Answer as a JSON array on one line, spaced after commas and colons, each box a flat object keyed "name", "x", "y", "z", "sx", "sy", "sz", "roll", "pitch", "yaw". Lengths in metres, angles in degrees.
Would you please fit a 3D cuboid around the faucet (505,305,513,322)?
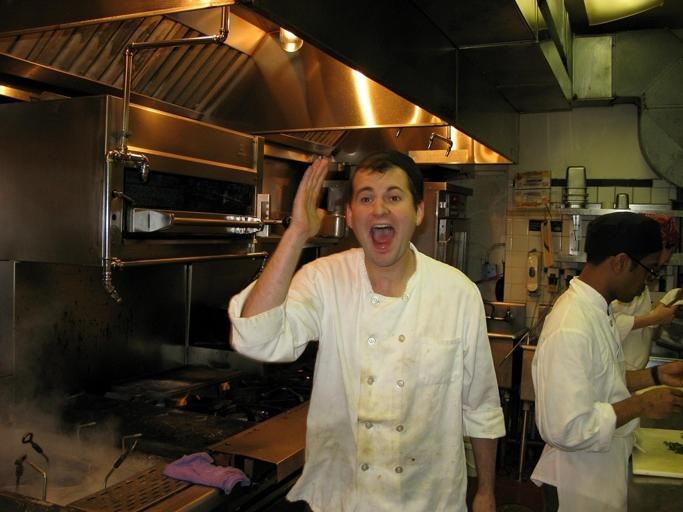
[{"name": "faucet", "x": 1.503, "y": 0.518, "z": 5.223, "sx": 0.115, "sy": 0.178, "sz": 0.090, "roll": -1, "pitch": -4, "yaw": 20}]

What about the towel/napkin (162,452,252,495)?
[{"name": "towel/napkin", "x": -0.532, "y": 0.850, "z": 2.285, "sx": 0.205, "sy": 0.064, "sz": 0.165, "roll": 14, "pitch": -3, "yaw": 16}]
